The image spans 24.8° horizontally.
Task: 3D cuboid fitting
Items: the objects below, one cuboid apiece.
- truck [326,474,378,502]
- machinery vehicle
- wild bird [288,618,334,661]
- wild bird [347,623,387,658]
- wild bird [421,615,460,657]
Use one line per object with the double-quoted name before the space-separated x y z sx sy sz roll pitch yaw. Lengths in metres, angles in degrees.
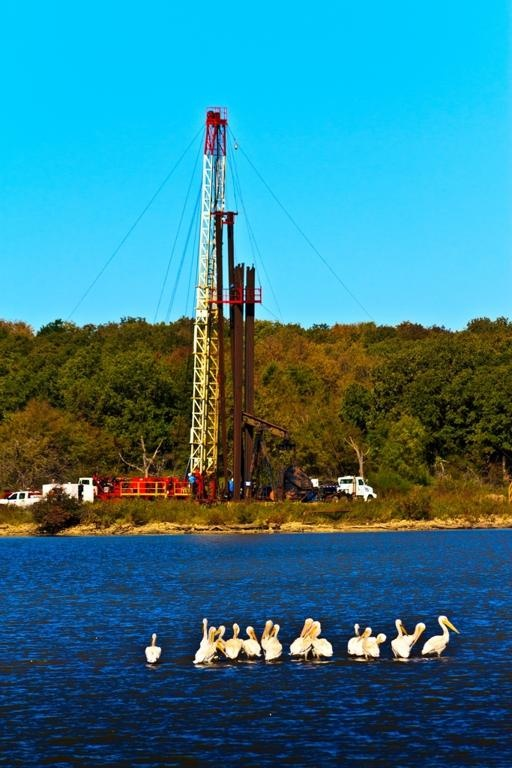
"truck" 6.734 7.112 79.339 2.320 1.460 1.430 -2 2 -21
"machinery vehicle" -3.533 -4.225 88.735 5.056 6.374 35.318 7 -53 6
"wild bird" 1.123 5.144 23.491 0.954 0.785 0.825 -2 -7 20
"wild bird" 2.211 5.177 23.173 0.487 0.587 1.152 4 -8 -27
"wild bird" 3.608 5.084 23.453 0.547 0.798 1.075 0 -7 8
